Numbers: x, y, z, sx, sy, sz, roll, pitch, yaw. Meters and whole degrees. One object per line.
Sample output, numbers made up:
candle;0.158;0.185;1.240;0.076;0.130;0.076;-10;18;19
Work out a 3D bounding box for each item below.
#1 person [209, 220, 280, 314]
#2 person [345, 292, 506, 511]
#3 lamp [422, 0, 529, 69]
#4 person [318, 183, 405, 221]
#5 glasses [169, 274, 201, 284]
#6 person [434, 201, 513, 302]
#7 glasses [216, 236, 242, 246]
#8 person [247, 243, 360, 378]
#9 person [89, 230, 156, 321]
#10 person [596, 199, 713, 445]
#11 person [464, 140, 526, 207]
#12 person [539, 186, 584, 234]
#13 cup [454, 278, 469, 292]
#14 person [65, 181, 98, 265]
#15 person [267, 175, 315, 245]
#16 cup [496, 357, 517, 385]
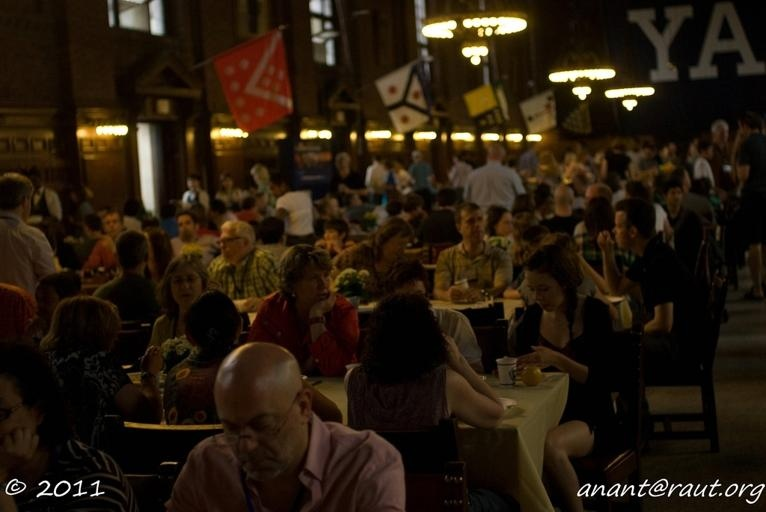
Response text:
person;-1.325;0.106;7.521;0.803;0.935;0.534;2;5;29
person;0.215;0.713;4.601;0.887;1.362;1.108;1;13;28
lamp;1.902;-4.455;15.961;1.642;0.755;1.827;5;25;12
person;-0.571;-1.118;15.322;1.152;0.545;1.703;-2;-5;19
glasses;-1.557;0.172;6.077;0.212;0.057;0.062;-3;5;-16
person;0.899;0.003;7.844;0.732;1.144;0.984;1;-9;1
glasses;-1.577;-0.154;7.943;0.142;0.047;0.152;-5;-5;33
person;-0.570;0.437;5.497;0.691;1.023;0.678;2;10;-6
person;-2.433;0.197;7.277;0.645;1.005;0.507;3;14;1
person;2.397;0.517;6.575;0.780;1.995;0.680;0;5;22
person;1.885;-1.349;13.183;0.951;1.113;0.506;-1;5;9
person;2.398;-0.611;10.542;0.788;0.639;0.432;-2;27;5
cup;0.739;0.267;7.250;0.098;0.084;0.106;1;0;0
person;-5.760;-0.835;14.820;0.435;1.752;0.461;11;5;21
person;-1.654;-0.895;14.253;0.720;1.197;4.101;-2;5;-7
cup;0.772;0.749;5.002;0.130;0.188;0.152;0;-7;0
